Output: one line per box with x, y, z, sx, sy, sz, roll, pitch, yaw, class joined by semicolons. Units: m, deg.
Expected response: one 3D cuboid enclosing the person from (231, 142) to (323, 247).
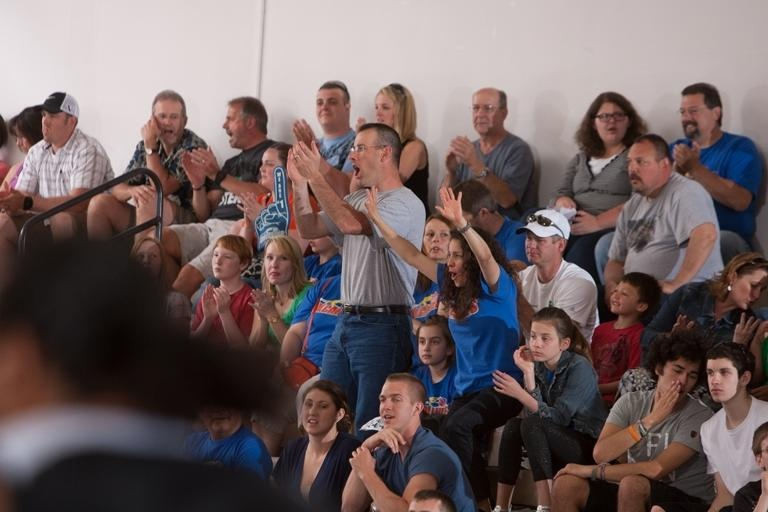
-0.869;-0.507;5.422;0.251;0.969;0.553;10;-16;-25;person

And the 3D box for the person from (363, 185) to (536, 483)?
0.377;0.566;3.818;0.982;1.840;0.696;3;2;-41;person

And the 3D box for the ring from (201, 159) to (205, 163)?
-1.540;-0.805;5.748;0.034;0.033;0.008;1;-5;-5;ring

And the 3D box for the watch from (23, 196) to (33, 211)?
-3.140;-0.461;5.973;0.074;0.098;0.099;-7;-23;-7;watch

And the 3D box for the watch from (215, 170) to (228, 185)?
-1.379;-0.661;5.723;0.077;0.106;0.114;26;35;-6;watch

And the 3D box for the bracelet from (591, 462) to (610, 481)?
1.036;1.045;3.294;0.058;0.080;0.037;-4;-30;37;bracelet

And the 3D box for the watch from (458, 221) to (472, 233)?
0.427;-0.143;3.622;0.056;0.022;0.058;-34;-5;32;watch

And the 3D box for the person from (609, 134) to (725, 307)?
1.875;-0.237;4.630;0.626;1.091;0.850;1;-9;-33;person

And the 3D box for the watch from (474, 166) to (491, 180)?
0.775;-0.653;5.350;0.092;0.029;0.094;-30;23;23;watch

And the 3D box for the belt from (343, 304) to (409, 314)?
-0.049;0.294;3.728;0.350;0.066;0.089;-1;16;-1;belt

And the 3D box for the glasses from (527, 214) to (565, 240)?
1.037;-0.182;4.261;0.198;0.065;0.166;34;-17;-34;glasses

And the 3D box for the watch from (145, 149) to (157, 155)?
-2.181;-0.971;6.318;0.087;0.054;0.087;2;-12;-19;watch

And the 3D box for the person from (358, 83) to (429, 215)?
0.120;-0.907;5.973;0.619;1.270;0.593;-6;27;-5;person

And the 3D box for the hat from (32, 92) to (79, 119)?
-3.097;-1.406;6.425;0.319;0.175;0.219;17;2;-23;hat
